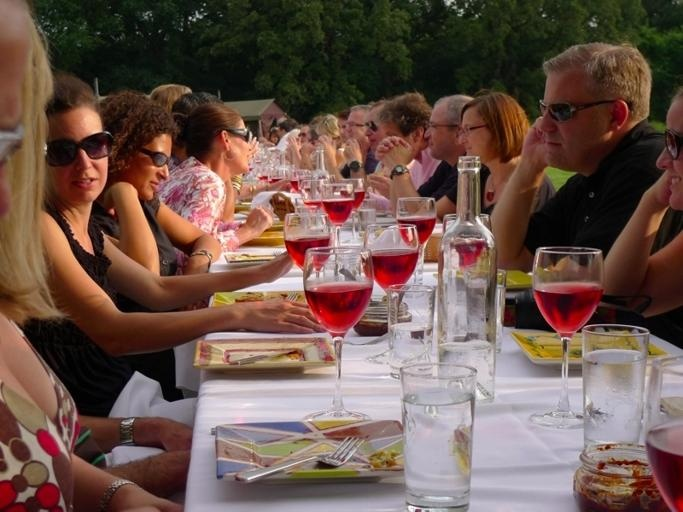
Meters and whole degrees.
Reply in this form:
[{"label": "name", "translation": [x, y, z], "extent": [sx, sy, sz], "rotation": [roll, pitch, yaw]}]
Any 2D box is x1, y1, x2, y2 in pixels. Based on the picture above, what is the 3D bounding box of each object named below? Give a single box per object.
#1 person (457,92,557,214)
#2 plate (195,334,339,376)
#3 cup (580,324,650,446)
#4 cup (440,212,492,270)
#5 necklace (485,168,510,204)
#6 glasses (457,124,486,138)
[{"label": "person", "translation": [1.157, -0.724, 4.535], "extent": [0.607, 0.850, 0.604], "rotation": [-7, 14, 10]}, {"label": "plate", "translation": [-0.203, 0.281, 1.783], "extent": [0.384, 0.055, 0.408], "rotation": [1, 3, 15]}, {"label": "cup", "translation": [0.543, 0.286, 1.326], "extent": [0.128, 0.215, 0.124], "rotation": [5, -22, 2]}, {"label": "cup", "translation": [0.418, -0.047, 2.252], "extent": [0.175, 0.136, 0.181], "rotation": [1, -2, 0]}, {"label": "necklace", "translation": [1.058, -0.481, 4.502], "extent": [0.138, 0.203, 0.074], "rotation": [-1, -24, 30]}, {"label": "glasses", "translation": [0.892, -0.854, 4.371], "extent": [0.143, 0.047, 0.142], "rotation": [-5, 9, -5]}]
